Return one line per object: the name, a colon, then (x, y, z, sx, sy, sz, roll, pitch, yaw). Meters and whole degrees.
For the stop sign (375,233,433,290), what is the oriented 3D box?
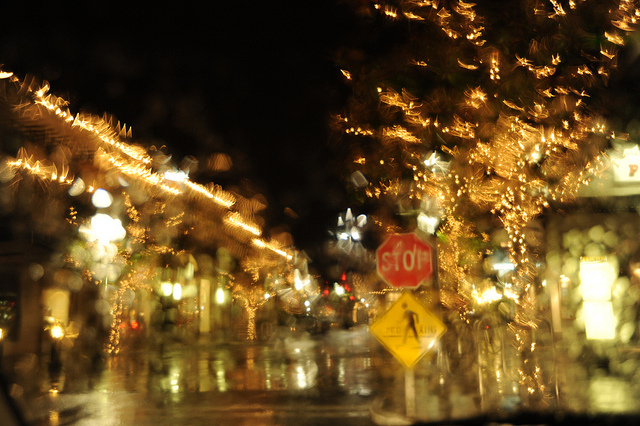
stop sign: (2.003, 1.117, 15.980, 1.330, 1.394, 0.183, -1, 1, 6)

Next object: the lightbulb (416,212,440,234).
lightbulb: (2.612, 0.229, 16.716, 0.466, 0.303, 0.454, 23, -9, -22)

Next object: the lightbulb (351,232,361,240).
lightbulb: (2.238, 1.376, 42.859, 0.388, 0.423, 0.673, -4, -5, 26)
